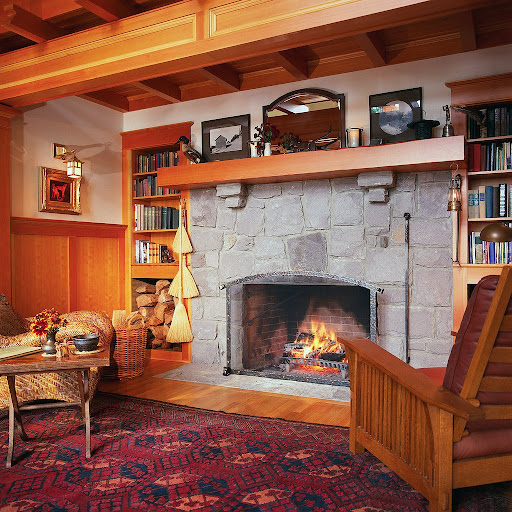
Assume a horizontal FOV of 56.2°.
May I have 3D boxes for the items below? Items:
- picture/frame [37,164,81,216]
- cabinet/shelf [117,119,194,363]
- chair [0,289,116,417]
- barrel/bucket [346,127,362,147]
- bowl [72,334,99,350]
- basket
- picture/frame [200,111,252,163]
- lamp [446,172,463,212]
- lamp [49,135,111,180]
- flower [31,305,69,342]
[{"bbox_3d":[-1.933,-0.651,4.652,0.075,0.444,0.625,-3,-4,28],"label":"picture/frame"},{"bbox_3d":[-1.063,-0.395,5.257,0.415,1.950,0.817,-1,1,-43],"label":"cabinet/shelf"},{"bbox_3d":[-1.464,0.682,3.746,1.146,0.847,1.008,-2,-5,6],"label":"chair"},{"bbox_3d":[0.761,-0.949,3.884,0.190,0.135,0.165,0,-5,7],"label":"barrel/bucket"},{"bbox_3d":[-1.054,0.526,2.959,0.120,0.054,0.110,0,-5,0],"label":"bowl"},{"bbox_3d":[-1.126,0.885,4.384,0.484,0.387,0.509,1,-3,2],"label":"basket"},{"bbox_3d":[-0.269,-1.150,4.663,0.832,0.477,0.036,1,1,28],"label":"picture/frame"},{"bbox_3d":[1.494,-0.483,3.606,0.102,0.299,0.312,-1,0,23],"label":"lamp"},{"bbox_3d":[-1.782,-0.968,4.794,0.519,0.280,0.127,-10,25,-38],"label":"lamp"},{"bbox_3d":[-1.271,0.426,2.951,0.160,0.176,0.139,0,1,40],"label":"flower"}]
